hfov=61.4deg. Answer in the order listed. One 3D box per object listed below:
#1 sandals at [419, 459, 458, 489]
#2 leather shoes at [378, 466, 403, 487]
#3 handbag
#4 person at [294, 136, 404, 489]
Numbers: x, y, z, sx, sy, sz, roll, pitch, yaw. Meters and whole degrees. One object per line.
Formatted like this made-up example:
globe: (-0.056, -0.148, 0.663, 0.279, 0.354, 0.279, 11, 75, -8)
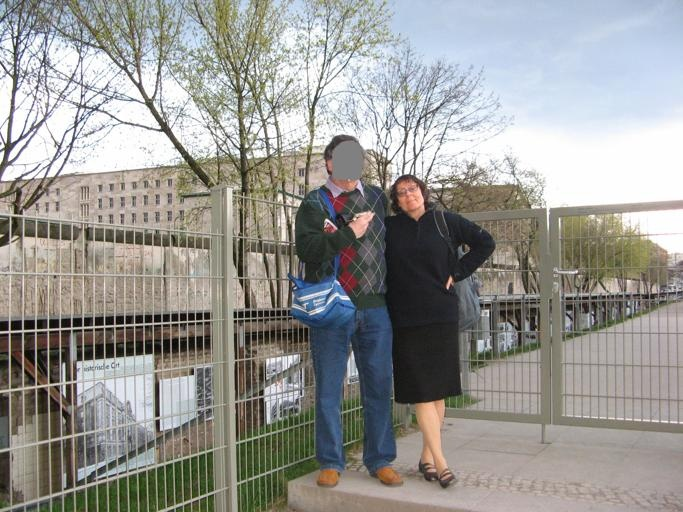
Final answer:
sandals: (0.843, 1.953, 5.150, 0.114, 0.138, 0.352, -1, -5, -27)
leather shoes: (0.435, 1.966, 5.154, 0.101, 0.104, 0.227, 1, -7, -32)
handbag: (-0.151, 0.386, 4.971, 0.345, 0.422, 0.189, -12, -6, 4)
person: (0.058, 0.475, 5.140, 0.921, 3.053, 0.545, -1, 0, -6)
